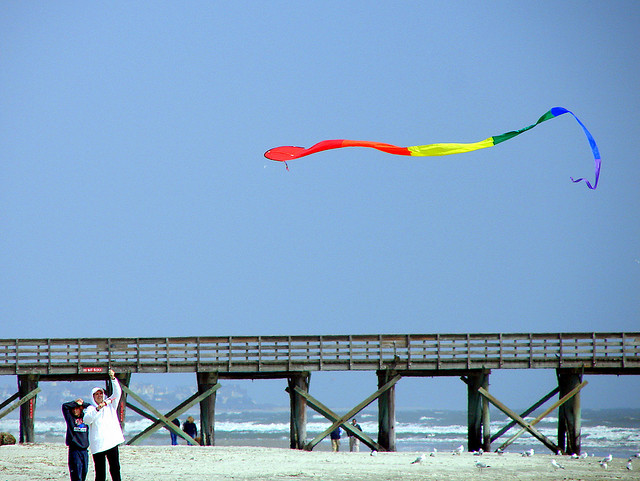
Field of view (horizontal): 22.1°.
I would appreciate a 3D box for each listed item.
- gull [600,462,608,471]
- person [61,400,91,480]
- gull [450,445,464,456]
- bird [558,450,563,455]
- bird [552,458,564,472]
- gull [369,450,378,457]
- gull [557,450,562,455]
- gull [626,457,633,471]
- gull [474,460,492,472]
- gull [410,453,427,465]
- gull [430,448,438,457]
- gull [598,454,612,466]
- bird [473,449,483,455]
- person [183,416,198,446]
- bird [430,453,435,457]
[{"bbox_3d":[12.821,10.343,73.752,0.337,0.344,1.022,-2,-8,9],"label":"gull"},{"bbox_3d":[-9.820,8.205,66.234,1.031,3.263,1.465,0,-8,-8],"label":"person"},{"bbox_3d":[6.696,10.187,77.770,0.599,0.312,0.683,6,19,25],"label":"gull"},{"bbox_3d":[11.924,10.681,80.867,0.139,0.199,0.092,-6,-18,-4],"label":"bird"},{"bbox_3d":[10.719,10.312,73.604,0.767,0.624,0.266,4,-6,24],"label":"bird"},{"bbox_3d":[2.548,10.129,76.443,0.145,0.218,0.351,15,-22,-12],"label":"gull"},{"bbox_3d":[11.845,10.640,80.650,0.217,0.224,0.799,-2,-8,8],"label":"gull"},{"bbox_3d":[13.981,10.355,74.032,0.289,0.599,0.392,1,-1,32],"label":"gull"},{"bbox_3d":[7.238,10.234,72.684,0.524,0.424,1.452,-2,-8,5],"label":"gull"},{"bbox_3d":[4.538,10.085,73.899,0.844,0.570,0.278,-11,-3,-1],"label":"gull"},{"bbox_3d":[5.383,10.109,76.811,0.309,0.510,0.460,5,-9,6],"label":"gull"},{"bbox_3d":[13.233,10.333,75.484,0.859,0.574,0.297,-5,0,-18],"label":"gull"},{"bbox_3d":[7.618,10.325,78.358,0.279,0.190,0.259,-17,-18,28],"label":"bird"},{"bbox_3d":[-6.285,9.228,79.406,0.636,1.071,1.322,0,-8,-5],"label":"person"},{"bbox_3d":[5.289,10.244,76.664,0.237,0.231,0.068,-3,0,-6],"label":"bird"}]
